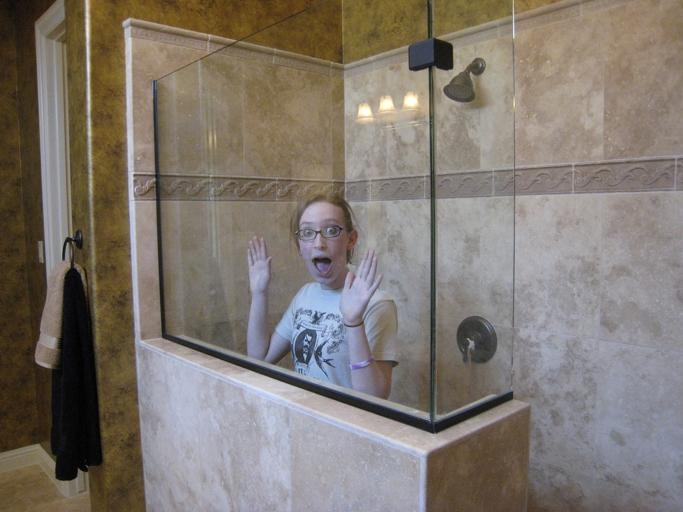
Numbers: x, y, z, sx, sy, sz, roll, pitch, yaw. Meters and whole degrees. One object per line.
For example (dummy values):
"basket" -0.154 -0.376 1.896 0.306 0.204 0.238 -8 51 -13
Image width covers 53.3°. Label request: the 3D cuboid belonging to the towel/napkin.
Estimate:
"towel/napkin" -1.198 0.248 2.890 0.104 0.415 0.268 -3 5 -37
